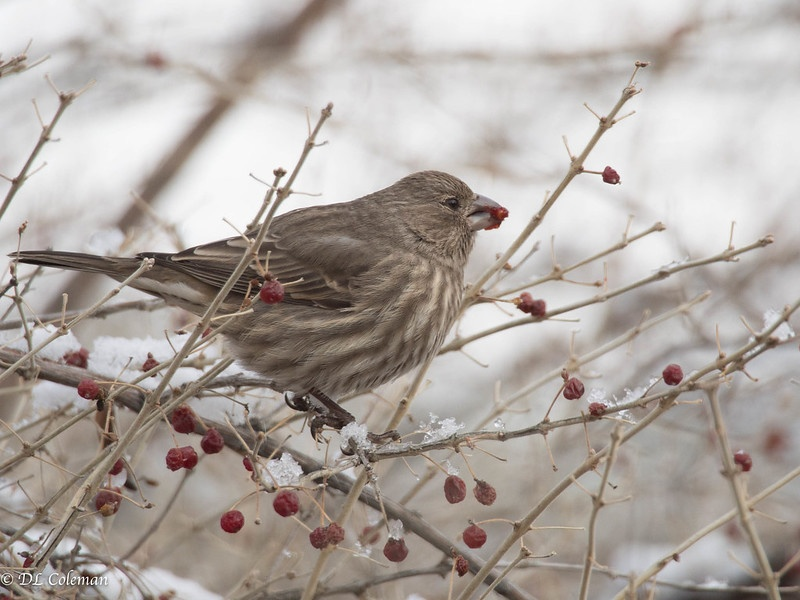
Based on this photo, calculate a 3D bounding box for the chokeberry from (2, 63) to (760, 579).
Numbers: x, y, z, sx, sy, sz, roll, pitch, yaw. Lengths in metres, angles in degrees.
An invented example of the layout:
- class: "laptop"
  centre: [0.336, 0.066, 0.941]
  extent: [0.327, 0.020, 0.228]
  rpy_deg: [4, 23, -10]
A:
- class: "chokeberry"
  centre: [-0.963, -0.068, 5.948]
  extent: [3.124, 0.976, 1.436]
  rpy_deg: [0, -80, -4]
